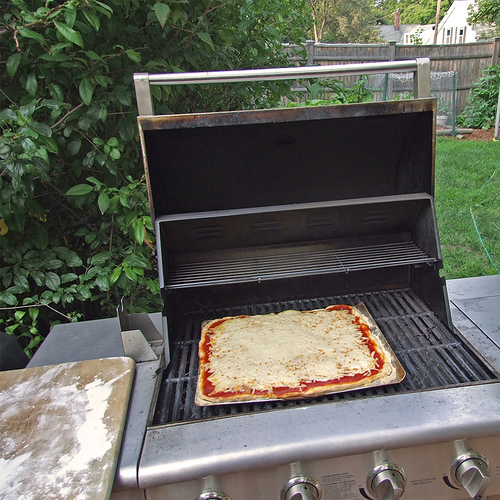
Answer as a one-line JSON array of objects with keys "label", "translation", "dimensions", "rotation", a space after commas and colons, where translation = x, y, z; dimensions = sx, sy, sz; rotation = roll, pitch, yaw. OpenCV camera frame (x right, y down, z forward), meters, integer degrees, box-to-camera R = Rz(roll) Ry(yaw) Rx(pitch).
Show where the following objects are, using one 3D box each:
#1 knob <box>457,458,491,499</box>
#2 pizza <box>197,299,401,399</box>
[{"label": "knob", "translation": [0.606, 0.606, 1.158], "dimensions": [0.082, 0.085, 0.069], "rotation": [-11, 27, -13]}, {"label": "pizza", "translation": [0.149, 0.346, 1.559], "dimensions": [0.662, 0.052, 0.518], "rotation": [-5, 24, -4]}]
